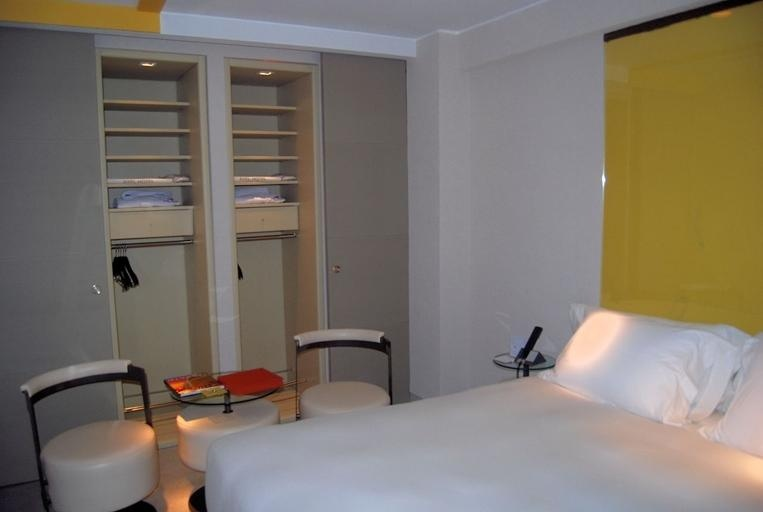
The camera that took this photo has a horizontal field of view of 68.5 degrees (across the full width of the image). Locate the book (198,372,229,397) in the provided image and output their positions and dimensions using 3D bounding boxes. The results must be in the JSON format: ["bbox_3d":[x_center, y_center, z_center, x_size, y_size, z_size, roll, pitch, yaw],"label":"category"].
[{"bbox_3d":[-1.158,0.878,3.827,0.104,0.039,0.189,-4,16,-26],"label":"book"}]

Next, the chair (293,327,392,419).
[{"bbox_3d":[-0.297,0.883,4.153,0.724,0.746,0.689,-1,-4,5],"label":"chair"}]

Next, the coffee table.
[{"bbox_3d":[-0.924,1.225,4.072,0.866,0.932,0.862,1,11,-1],"label":"coffee table"}]
